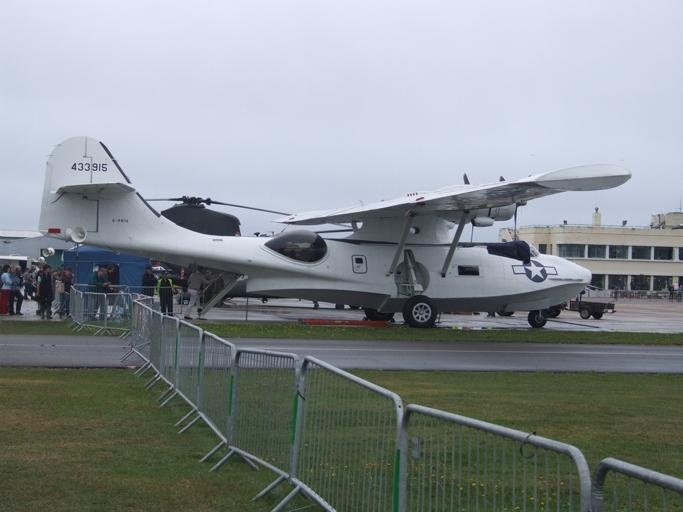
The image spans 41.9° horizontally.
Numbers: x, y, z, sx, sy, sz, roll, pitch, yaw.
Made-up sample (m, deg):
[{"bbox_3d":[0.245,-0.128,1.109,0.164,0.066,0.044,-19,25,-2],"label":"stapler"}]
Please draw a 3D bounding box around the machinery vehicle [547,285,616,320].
[{"bbox_3d":[9.485,2.222,37.803,2.816,1.414,2.803,1,4,38],"label":"machinery vehicle"}]
